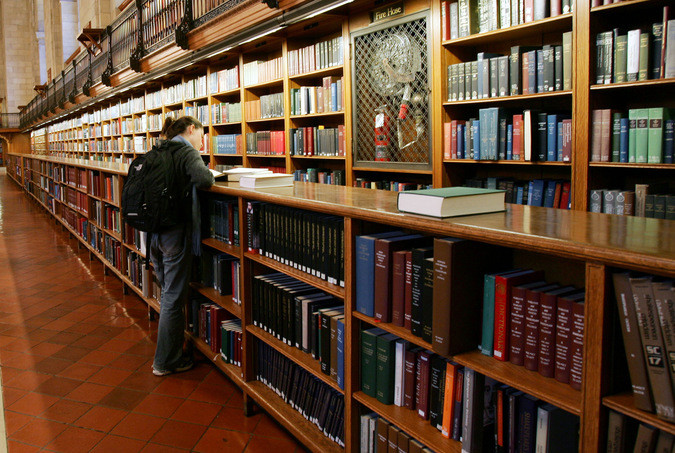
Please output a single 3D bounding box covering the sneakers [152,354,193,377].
[{"bbox_3d":[-1.267,1.104,4.018,0.328,0.145,0.129,-12,19,-38],"label":"sneakers"}]
